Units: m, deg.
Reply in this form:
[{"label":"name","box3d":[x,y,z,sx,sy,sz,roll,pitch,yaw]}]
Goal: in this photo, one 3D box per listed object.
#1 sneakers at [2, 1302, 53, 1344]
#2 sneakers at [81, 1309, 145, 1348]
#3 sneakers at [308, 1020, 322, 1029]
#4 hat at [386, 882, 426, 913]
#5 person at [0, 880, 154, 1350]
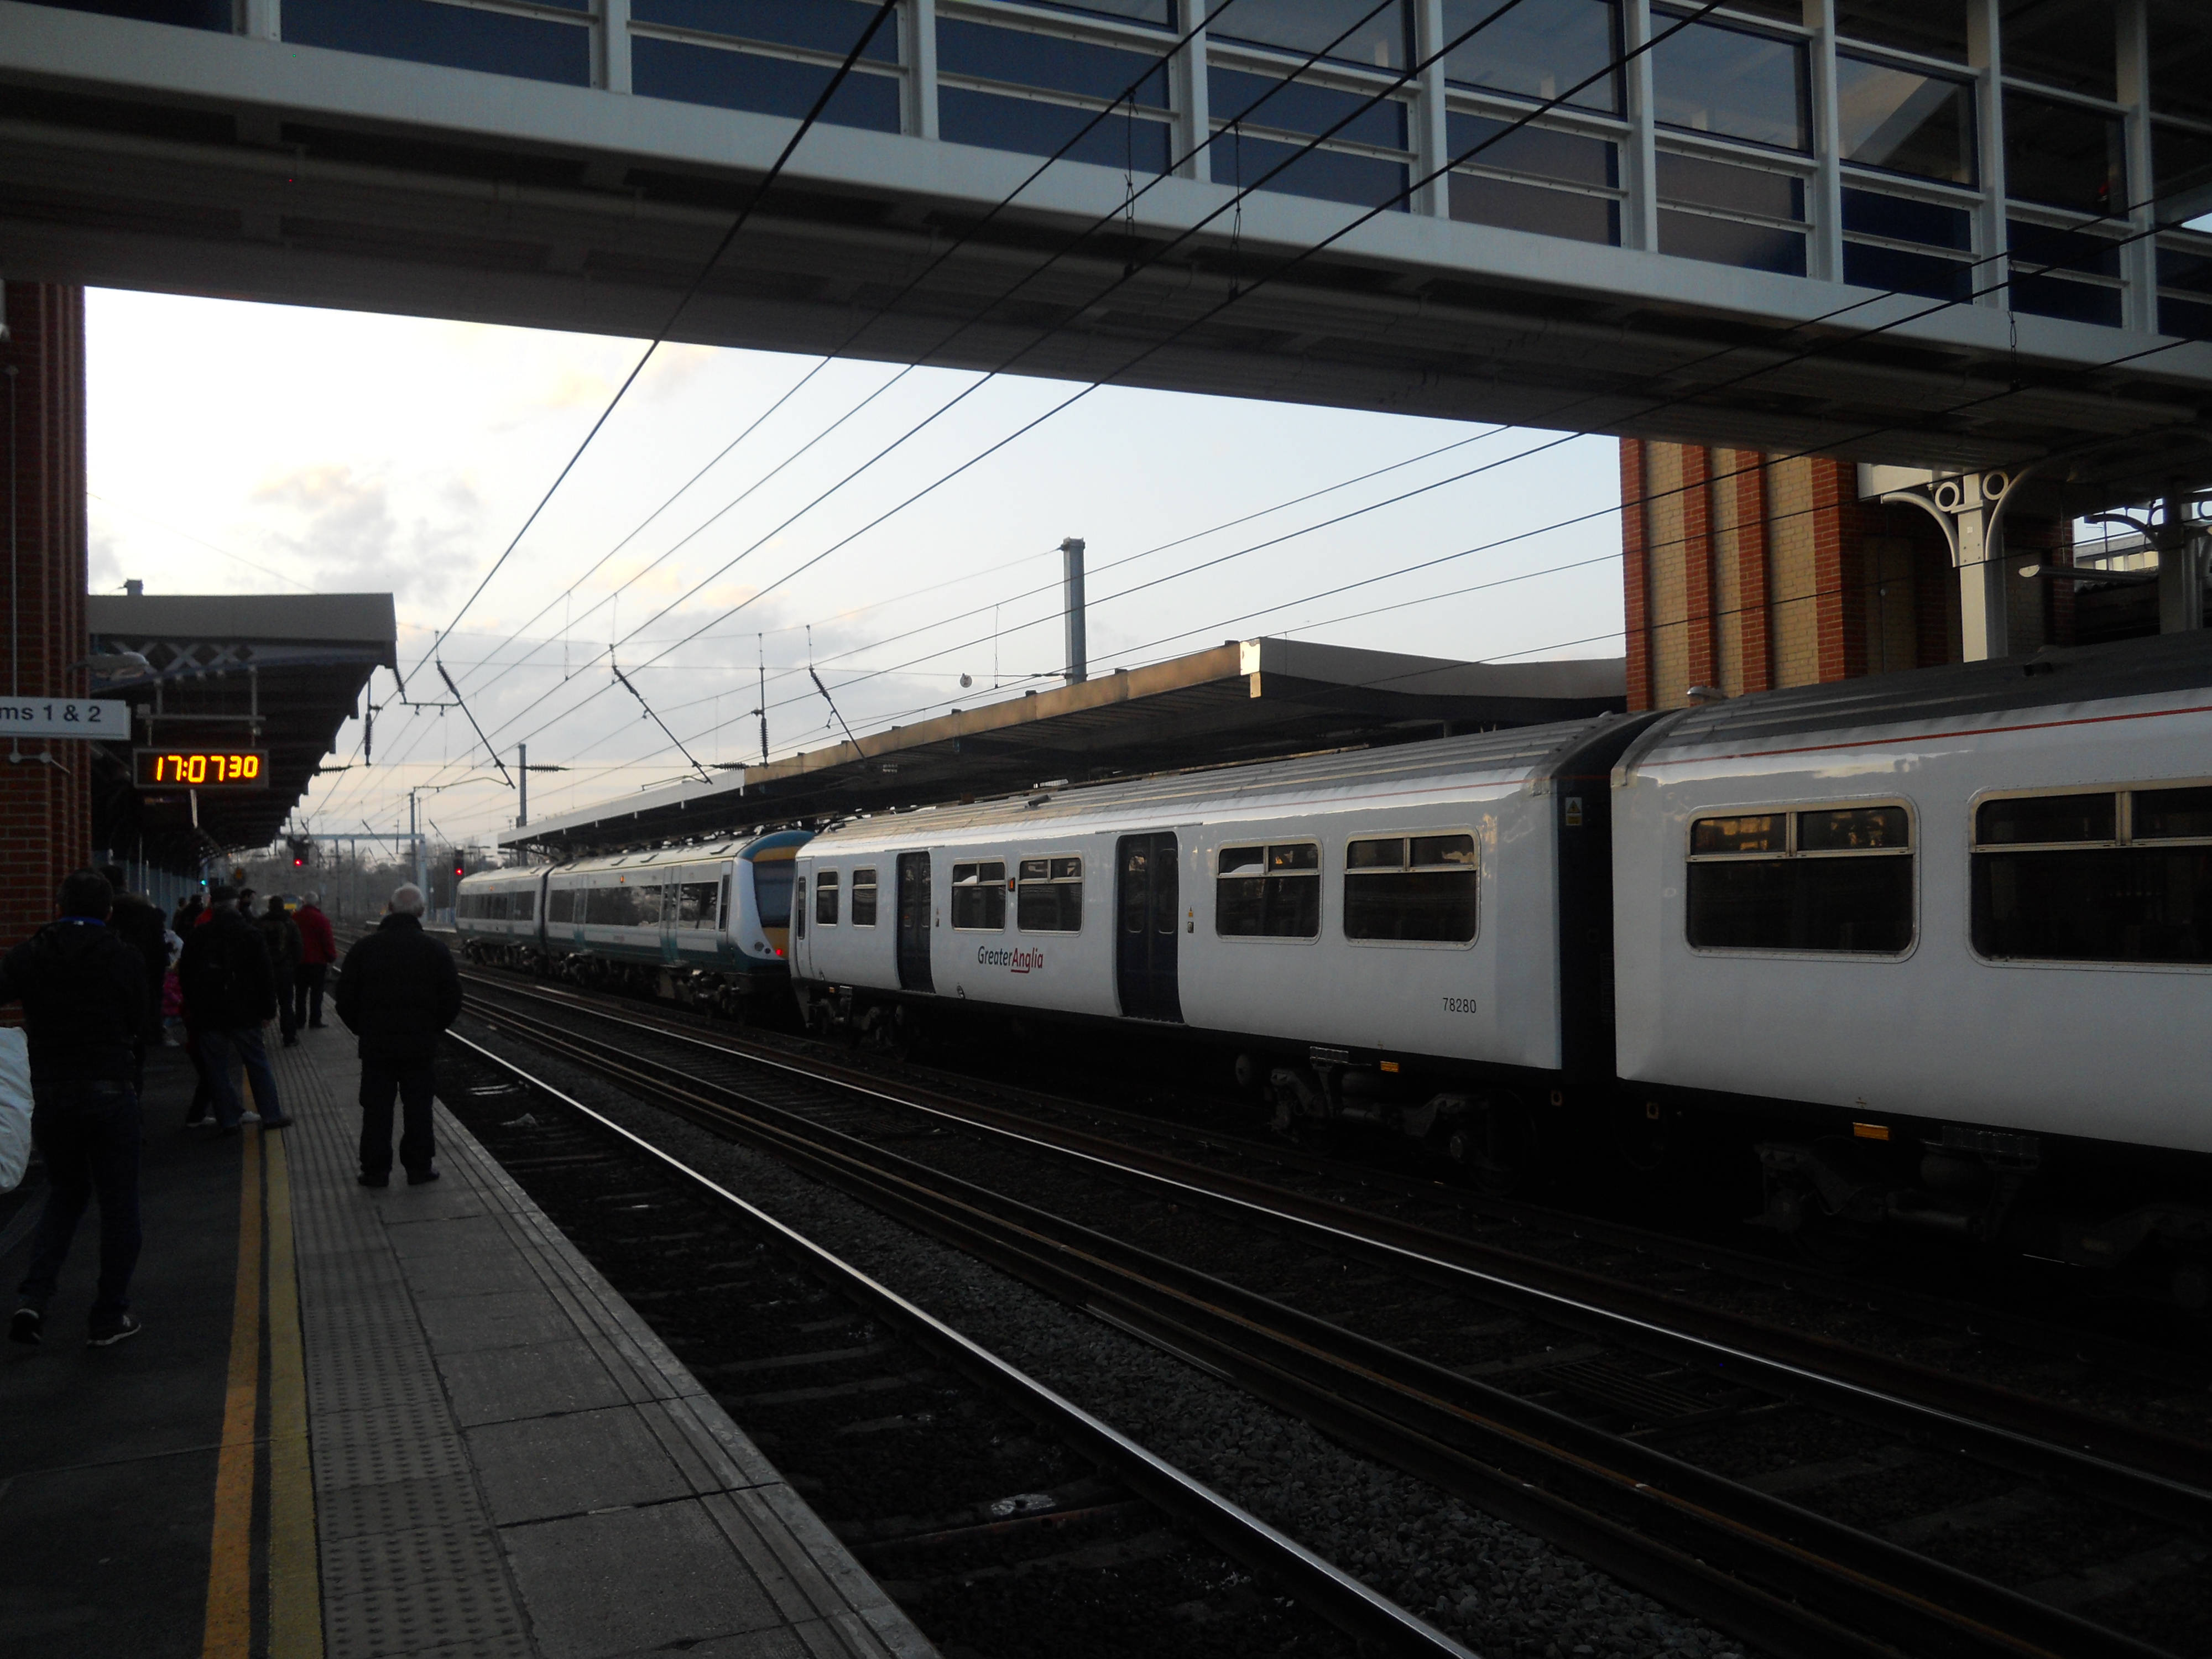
[{"label":"sneakers","box3d":[-5.338,2.422,9.218,0.175,0.226,0.232,7,-28,-29]},{"label":"sneakers","box3d":[-4.997,2.501,9.405,0.108,0.126,0.320,2,-1,11]},{"label":"sneakers","box3d":[-10.124,2.482,23.920,0.068,0.088,0.130,5,-12,-32]},{"label":"hat","box3d":[-4.678,0.457,12.450,0.234,0.239,0.277,2,5,-20]},{"label":"person","box3d":[-5.198,1.385,9.442,0.619,2.325,0.709,2,2,-27]}]
